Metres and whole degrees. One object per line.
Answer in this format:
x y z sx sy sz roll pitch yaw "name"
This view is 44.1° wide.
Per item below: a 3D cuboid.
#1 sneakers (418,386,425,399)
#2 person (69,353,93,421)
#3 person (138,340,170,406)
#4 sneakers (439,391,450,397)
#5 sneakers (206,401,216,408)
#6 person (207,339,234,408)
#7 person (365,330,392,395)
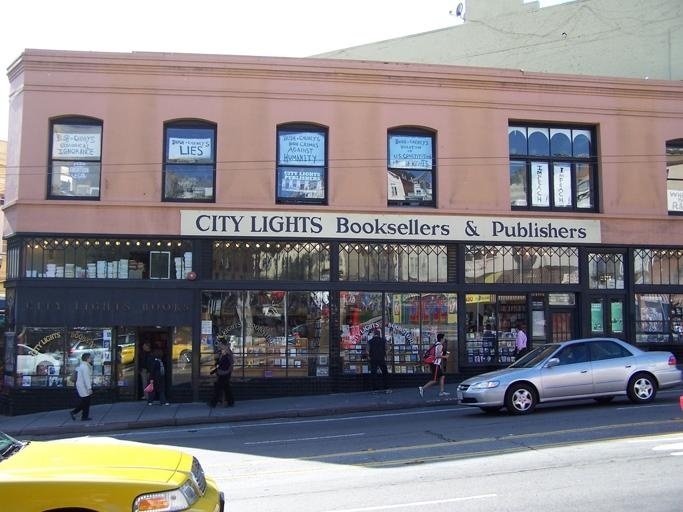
2.437 4.102 25.416 0.133 0.335 0.108 -9 12 9 "sneakers"
-7.385 3.677 23.922 0.642 1.951 1.065 -4 3 -19 "person"
-5.816 3.644 26.174 0.837 1.862 1.560 -4 3 -13 "person"
3.177 4.182 25.659 0.386 0.165 0.129 1 -1 -24 "sneakers"
-3.913 4.432 25.488 0.234 0.209 0.503 -4 3 -12 "sneakers"
-3.653 3.528 25.868 0.713 1.990 1.289 -3 3 -8 "person"
1.201 3.363 26.892 0.655 1.889 1.024 -3 3 1 "person"
